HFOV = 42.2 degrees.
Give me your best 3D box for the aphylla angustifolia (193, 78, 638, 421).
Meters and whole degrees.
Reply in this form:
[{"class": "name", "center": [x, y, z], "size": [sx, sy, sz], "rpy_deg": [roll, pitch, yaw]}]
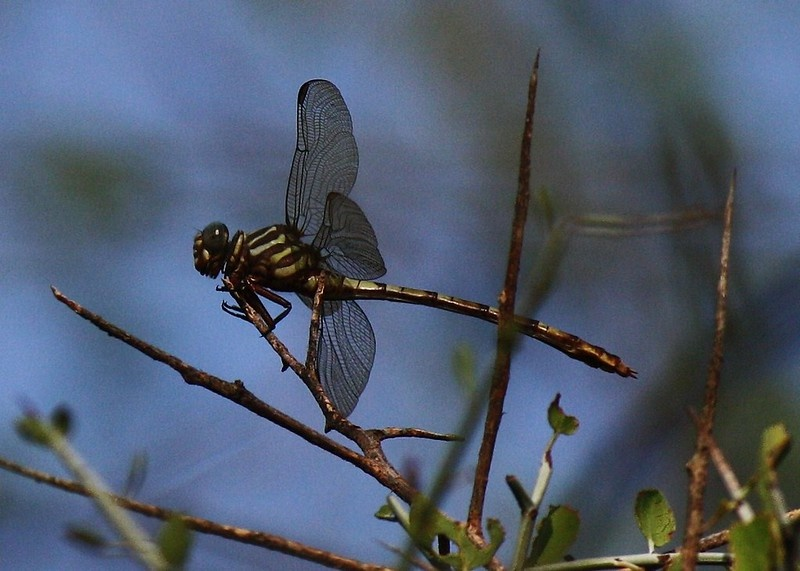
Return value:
[{"class": "aphylla angustifolia", "center": [-0.018, -0.113, 2.219], "size": [0.738, 0.393, 0.756], "rpy_deg": [0, -54, -5]}]
